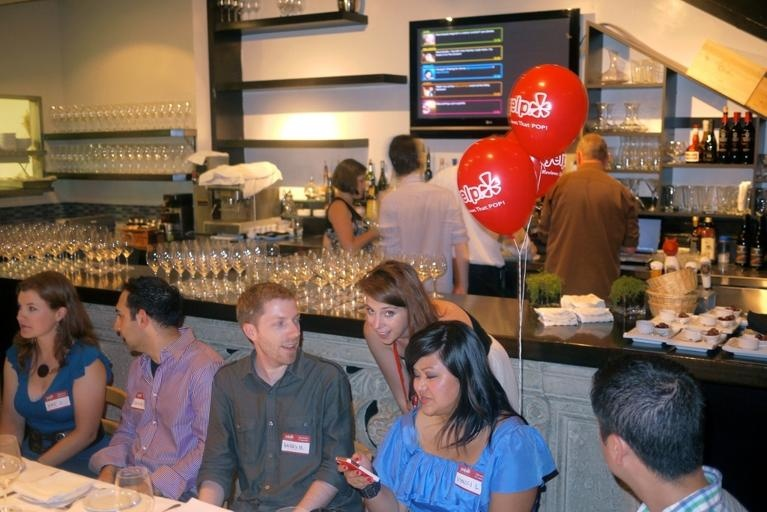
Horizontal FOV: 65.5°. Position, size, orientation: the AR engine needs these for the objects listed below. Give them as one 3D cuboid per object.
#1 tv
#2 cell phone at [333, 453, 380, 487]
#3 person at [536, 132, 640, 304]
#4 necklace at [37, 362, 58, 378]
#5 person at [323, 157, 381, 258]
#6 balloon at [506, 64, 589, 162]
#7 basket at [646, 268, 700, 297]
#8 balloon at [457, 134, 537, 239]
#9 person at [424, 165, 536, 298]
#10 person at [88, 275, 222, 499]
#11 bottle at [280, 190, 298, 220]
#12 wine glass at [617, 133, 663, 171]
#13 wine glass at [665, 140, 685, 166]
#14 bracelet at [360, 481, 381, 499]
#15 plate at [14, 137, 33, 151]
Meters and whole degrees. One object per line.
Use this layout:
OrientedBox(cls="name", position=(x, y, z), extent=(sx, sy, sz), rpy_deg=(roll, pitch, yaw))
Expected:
OrientedBox(cls="tv", position=(0.986, -1.633, 5.206), extent=(1.655, 1.275, 0.179), rpy_deg=(1, 3, 25))
OrientedBox(cls="cell phone", position=(-0.115, 0.921, 2.569), extent=(0.132, 0.034, 0.138), rpy_deg=(17, -23, 46))
OrientedBox(cls="person", position=(1.773, -0.119, 5.180), extent=(0.691, 2.076, 0.652), rpy_deg=(7, 40, 19))
OrientedBox(cls="necklace", position=(-1.941, 0.669, 3.444), extent=(0.151, 0.078, 0.024), rpy_deg=(0, 6, 18))
OrientedBox(cls="person", position=(-0.239, -0.379, 4.986), extent=(0.452, 0.831, 0.525), rpy_deg=(9, 13, 15))
OrientedBox(cls="balloon", position=(0.945, -0.817, 3.473), extent=(0.450, 0.625, 0.493), rpy_deg=(-6, 21, -4))
OrientedBox(cls="basket", position=(1.728, 0.170, 3.574), extent=(0.174, 0.096, 0.213), rpy_deg=(2, -22, -25))
OrientedBox(cls="balloon", position=(0.687, -0.363, 3.481), extent=(0.455, 0.622, 0.449), rpy_deg=(-14, 5, -25))
OrientedBox(cls="person", position=(0.643, -0.155, 4.117), extent=(0.956, 0.979, 0.295), rpy_deg=(0, 3, -7))
OrientedBox(cls="person", position=(-1.291, 0.742, 3.760), extent=(0.896, 1.619, 1.084), rpy_deg=(1, -1, -24))
OrientedBox(cls="bottle", position=(-1.076, -0.572, 6.778), extent=(0.171, 0.334, 0.445), rpy_deg=(-2, 6, -9))
OrientedBox(cls="wine glass", position=(2.318, -0.921, 5.339), extent=(0.283, 0.288, 0.120), rpy_deg=(2, 8, 15))
OrientedBox(cls="wine glass", position=(2.631, -0.927, 5.335), extent=(0.190, 0.184, 0.077), rpy_deg=(-3, 6, -12))
OrientedBox(cls="bracelet", position=(-0.055, 1.021, 2.597), extent=(0.064, 0.057, 0.089), rpy_deg=(-32, 3, -9))
OrientedBox(cls="plate", position=(-4.299, -1.318, 7.120), extent=(0.152, 0.122, 0.150), rpy_deg=(0, 0, 15))
